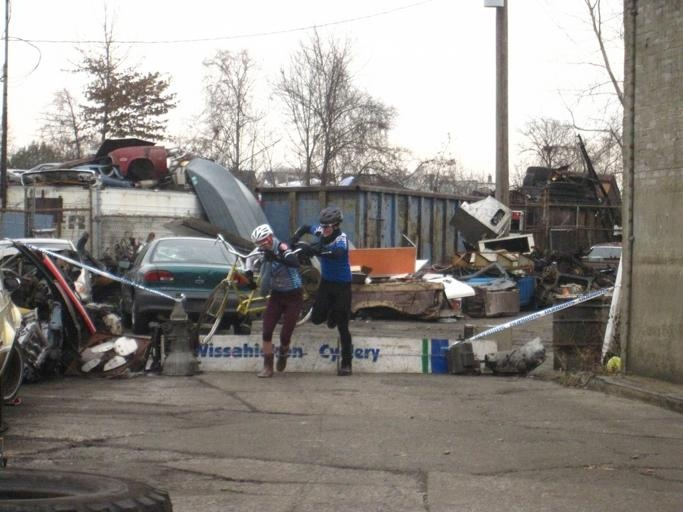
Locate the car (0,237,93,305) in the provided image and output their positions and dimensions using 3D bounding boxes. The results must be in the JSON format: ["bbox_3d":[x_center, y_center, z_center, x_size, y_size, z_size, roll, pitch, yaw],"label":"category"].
[{"bbox_3d":[-4.620,0.193,17.210,1.609,0.788,0.973,-1,7,-14],"label":"car"}]

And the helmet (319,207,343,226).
[{"bbox_3d":[-0.122,-0.543,14.318,0.199,0.181,0.273,8,14,26],"label":"helmet"}]

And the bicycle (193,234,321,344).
[{"bbox_3d":[-1.184,0.414,16.035,1.034,1.294,2.134,18,12,31],"label":"bicycle"}]

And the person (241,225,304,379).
[{"bbox_3d":[-0.834,0.585,14.072,0.624,2.001,0.617,0,9,-3],"label":"person"}]

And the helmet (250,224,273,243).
[{"bbox_3d":[-1.002,-0.288,13.848,0.254,0.213,0.246,-7,12,-44],"label":"helmet"}]
